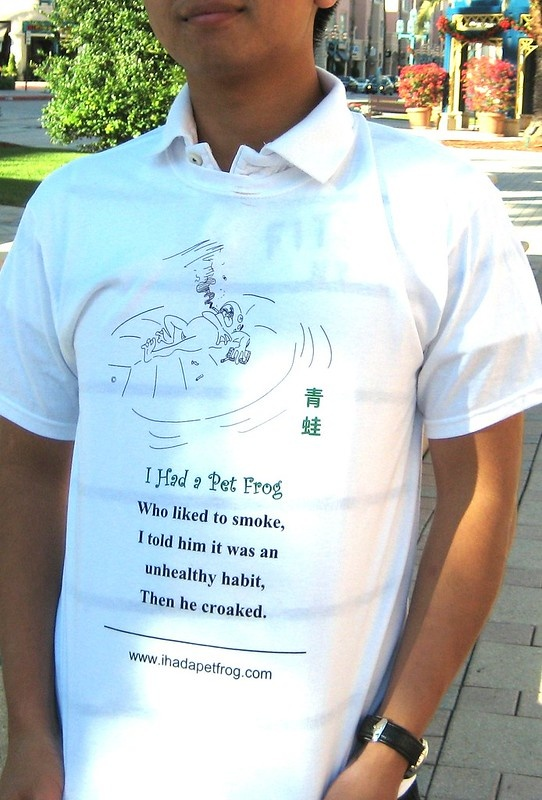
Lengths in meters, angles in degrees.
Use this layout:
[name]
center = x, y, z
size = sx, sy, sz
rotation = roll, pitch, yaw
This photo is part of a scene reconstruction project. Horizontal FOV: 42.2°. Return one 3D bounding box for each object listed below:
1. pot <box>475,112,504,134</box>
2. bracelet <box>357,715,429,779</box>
[pot]
center = 8.163, -10.290, 26.029
size = 0.980, 0.660, 0.931
rotation = -1, 37, 1
[bracelet]
center = 0.145, 0.420, 0.855
size = 0.069, 0.042, 0.072
rotation = 37, -13, -6
